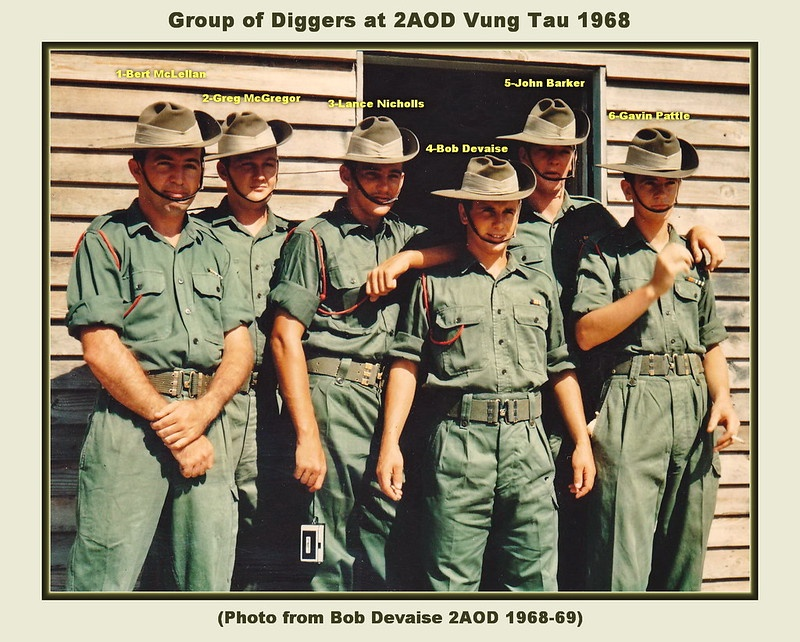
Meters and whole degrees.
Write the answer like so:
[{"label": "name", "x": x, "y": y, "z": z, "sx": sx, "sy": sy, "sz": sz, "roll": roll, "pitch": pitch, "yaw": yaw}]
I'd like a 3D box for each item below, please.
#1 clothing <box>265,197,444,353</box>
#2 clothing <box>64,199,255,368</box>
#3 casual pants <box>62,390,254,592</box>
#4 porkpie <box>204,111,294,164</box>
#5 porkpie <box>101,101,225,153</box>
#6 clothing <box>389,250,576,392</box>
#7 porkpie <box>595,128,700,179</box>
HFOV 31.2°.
[{"label": "clothing", "x": -0.248, "y": -0.221, "z": 7.493, "sx": 1.083, "sy": 0.797, "sz": 0.434, "roll": 6, "pitch": -3, "yaw": -39}, {"label": "clothing", "x": -1.157, "y": -0.162, "z": 7.061, "sx": 0.892, "sy": 0.702, "sz": 0.467, "roll": 4, "pitch": -9, "yaw": -34}, {"label": "casual pants", "x": -1.181, "y": 0.852, "z": 7.142, "sx": 0.900, "sy": 1.381, "sz": 0.466, "roll": 0, "pitch": 24, "yaw": -14}, {"label": "porkpie", "x": -0.787, "y": -0.993, "z": 7.474, "sx": 0.579, "sy": 0.204, "sz": 0.595, "roll": -5, "pitch": 9, "yaw": 1}, {"label": "porkpie", "x": -1.137, "y": -0.949, "z": 7.120, "sx": 0.363, "sy": 0.134, "sz": 0.386, "roll": -5, "pitch": 2, "yaw": -39}, {"label": "clothing", "x": 0.381, "y": 0.022, "z": 7.286, "sx": 0.795, "sy": 0.523, "sz": 0.307, "roll": 2, "pitch": -7, "yaw": -10}, {"label": "porkpie", "x": 1.339, "y": -0.911, "z": 7.630, "sx": 0.554, "sy": 0.195, "sz": 0.561, "roll": -17, "pitch": 22, "yaw": -36}]
